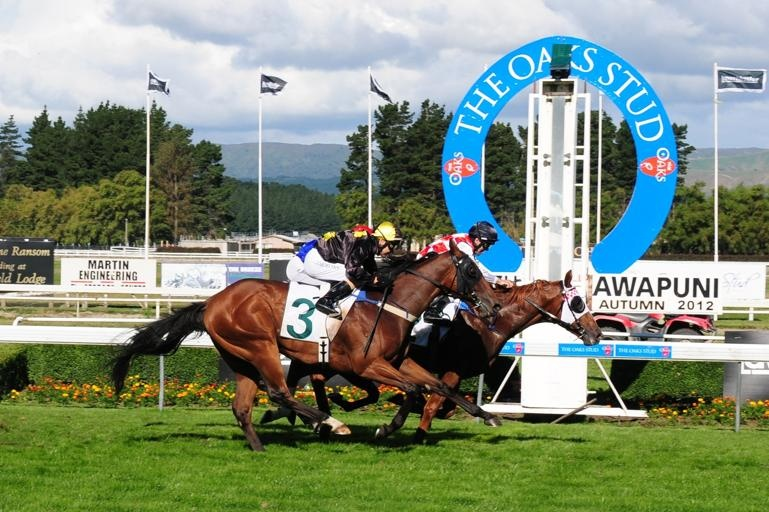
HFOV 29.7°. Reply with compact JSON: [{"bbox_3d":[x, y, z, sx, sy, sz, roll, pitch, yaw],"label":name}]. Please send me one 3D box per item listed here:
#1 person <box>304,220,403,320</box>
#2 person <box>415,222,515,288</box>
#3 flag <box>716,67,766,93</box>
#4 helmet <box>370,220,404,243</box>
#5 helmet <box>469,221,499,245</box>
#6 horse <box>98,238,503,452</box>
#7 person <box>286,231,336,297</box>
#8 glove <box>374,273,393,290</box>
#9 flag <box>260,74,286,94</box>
[{"bbox_3d":[-0.537,0.078,23.944,1.518,1.548,1.121,11,14,-6],"label":"person"},{"bbox_3d":[1.311,-0.120,24.309,1.870,0.979,0.599,9,5,15],"label":"person"},{"bbox_3d":[9.633,-4.822,39.089,0.492,0.781,1.604,2,-2,-26],"label":"flag"},{"bbox_3d":[0.066,-0.436,23.933,0.414,0.218,0.294,-2,23,-4],"label":"helmet"},{"bbox_3d":[1.698,-0.425,24.016,0.440,0.354,0.341,27,19,23],"label":"helmet"},{"bbox_3d":[-1.360,1.534,23.914,6.539,3.154,1.477,-3,-11,11],"label":"horse"},{"bbox_3d":[-1.184,0.078,24.154,0.715,0.913,0.367,6,-6,22],"label":"person"},{"bbox_3d":[0.023,0.388,23.522,0.311,0.262,0.164,2,-3,-39],"label":"glove"},{"bbox_3d":[-3.220,-5.098,42.200,0.623,0.632,1.312,1,-2,-4],"label":"flag"}]
